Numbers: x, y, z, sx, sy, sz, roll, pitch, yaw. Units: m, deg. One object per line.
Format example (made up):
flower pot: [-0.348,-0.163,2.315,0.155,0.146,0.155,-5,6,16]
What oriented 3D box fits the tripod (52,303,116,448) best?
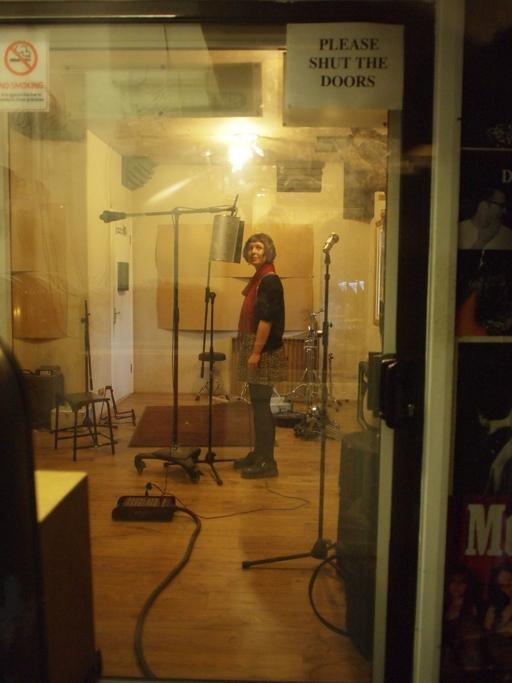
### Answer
tripod: [-0.429,0.103,1.670,0.159,0.397,0.075,-1,3,-15]

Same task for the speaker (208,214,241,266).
speaker: [-0.076,-0.242,1.663,0.083,0.120,0.071,6,-13,9]

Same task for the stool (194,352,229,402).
stool: [-0.113,0.089,1.680,0.099,0.142,0.101,1,2,-4]

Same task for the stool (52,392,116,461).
stool: [-0.439,0.201,1.734,0.136,0.173,0.173,5,0,-24]
